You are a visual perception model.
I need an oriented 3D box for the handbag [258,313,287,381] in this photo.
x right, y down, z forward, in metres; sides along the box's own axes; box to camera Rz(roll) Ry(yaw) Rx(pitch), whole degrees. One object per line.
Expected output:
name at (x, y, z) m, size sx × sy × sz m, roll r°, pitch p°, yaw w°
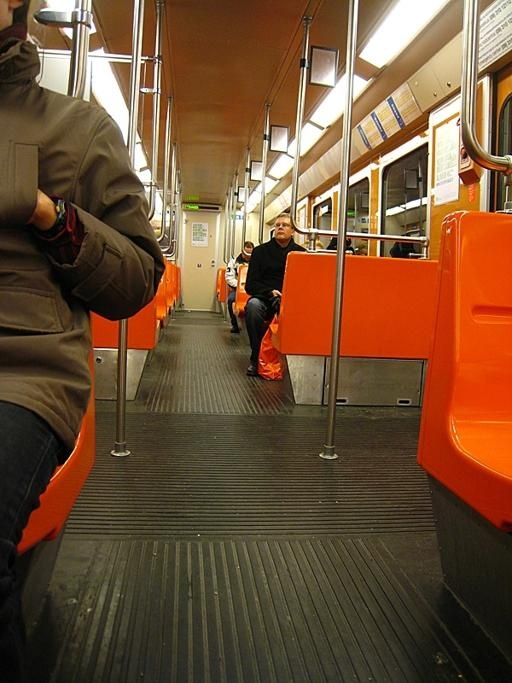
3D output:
handbag at (0.134, 0.045, 5.123) m, size 0.281 × 0.583 × 0.297 m, roll 9°, pitch 47°, yaw 21°

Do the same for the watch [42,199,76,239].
watch at (-0.348, -0.211, 0.837) m, size 0.055 × 0.070 × 0.052 m, roll -5°, pitch 11°, yaw -31°

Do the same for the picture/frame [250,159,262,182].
picture/frame at (-0.021, -3.646, 10.096) m, size 0.223 × 0.316 × 0.462 m, roll 2°, pitch 3°, yaw -5°

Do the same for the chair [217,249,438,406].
chair at (0.772, -0.148, 4.354) m, size 1.524 × 1.095 × 1.141 m, roll 0°, pitch 8°, yaw -8°

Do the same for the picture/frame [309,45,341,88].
picture/frame at (0.651, -2.658, 4.615) m, size 0.273 × 0.452 × 0.305 m, roll 2°, pitch 3°, yaw 4°
